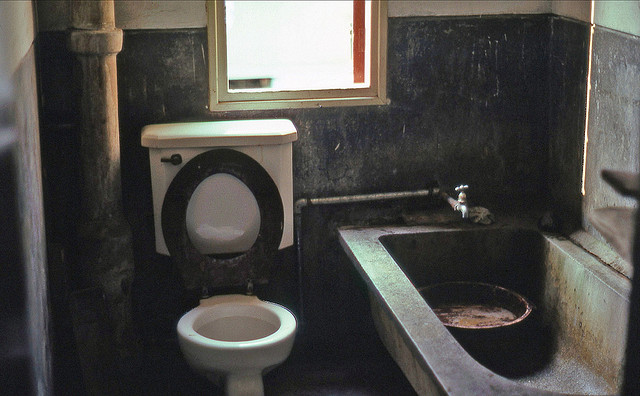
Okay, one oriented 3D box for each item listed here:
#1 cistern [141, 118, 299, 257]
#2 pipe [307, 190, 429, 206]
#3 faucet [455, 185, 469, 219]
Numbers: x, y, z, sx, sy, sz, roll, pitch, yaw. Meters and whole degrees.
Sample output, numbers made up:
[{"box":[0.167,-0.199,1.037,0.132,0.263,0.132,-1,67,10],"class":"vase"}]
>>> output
[{"box":[-0.462,-0.052,2.708,0.741,0.670,0.534,1,31,-4],"class":"cistern"},{"box":[0.263,-0.009,2.990,0.667,0.054,0.032,-6,15,-7],"class":"pipe"},{"box":[0.754,0.010,2.941,0.068,0.202,0.306,-1,15,14],"class":"faucet"}]
